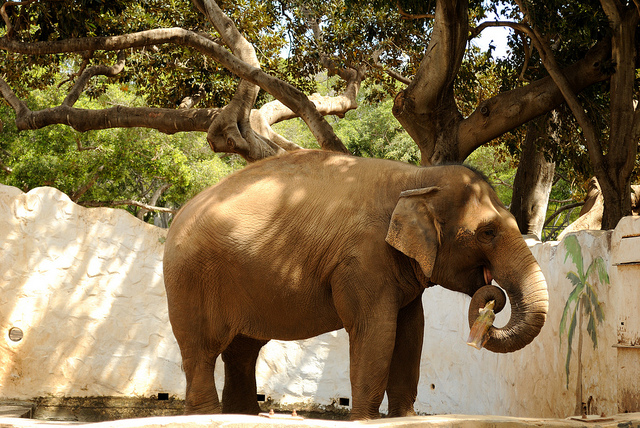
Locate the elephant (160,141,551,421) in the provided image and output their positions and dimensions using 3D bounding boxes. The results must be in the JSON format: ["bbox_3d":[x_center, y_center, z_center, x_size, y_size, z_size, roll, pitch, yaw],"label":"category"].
[{"bbox_3d":[0.171,0.579,9.341,3.334,3.665,3.525,1,-5,-34],"label":"elephant"}]
